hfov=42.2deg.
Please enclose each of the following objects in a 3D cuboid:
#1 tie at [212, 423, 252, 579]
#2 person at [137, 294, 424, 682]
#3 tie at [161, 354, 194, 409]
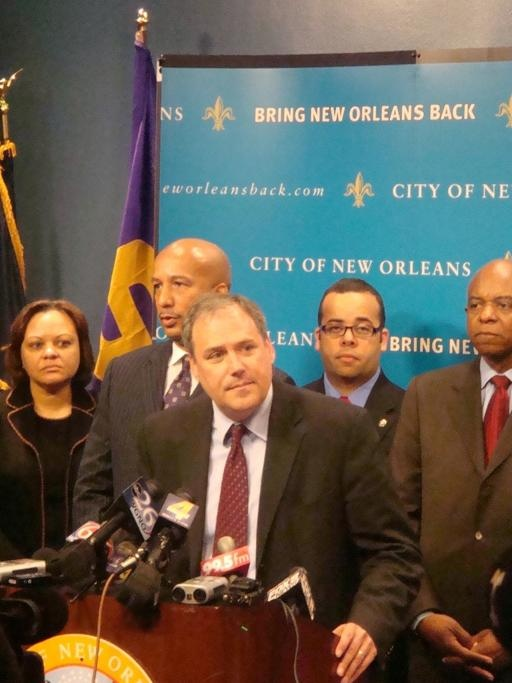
[{"bbox_3d":[-0.058,0.390,1.821,0.086,0.283,0.209,2,5,0],"label":"tie"},{"bbox_3d":[0.063,0.325,1.851,0.876,0.894,0.550,6,7,40],"label":"person"},{"bbox_3d":[-0.315,0.156,2.746,0.087,0.279,0.027,8,28,-11],"label":"tie"}]
